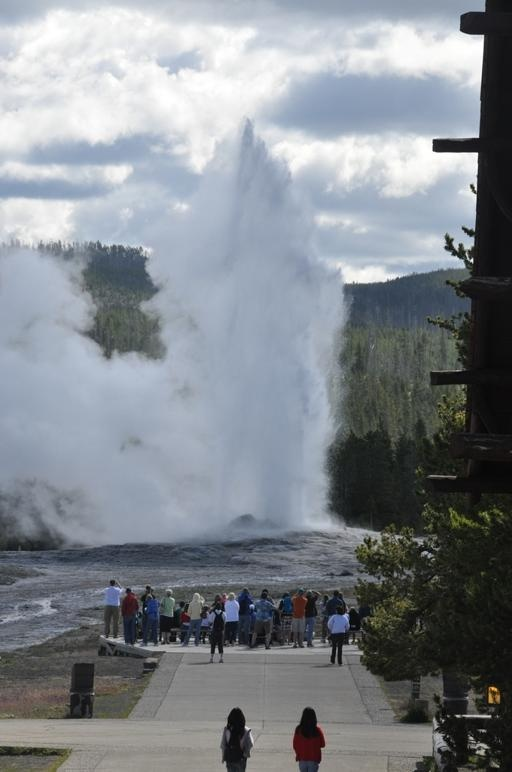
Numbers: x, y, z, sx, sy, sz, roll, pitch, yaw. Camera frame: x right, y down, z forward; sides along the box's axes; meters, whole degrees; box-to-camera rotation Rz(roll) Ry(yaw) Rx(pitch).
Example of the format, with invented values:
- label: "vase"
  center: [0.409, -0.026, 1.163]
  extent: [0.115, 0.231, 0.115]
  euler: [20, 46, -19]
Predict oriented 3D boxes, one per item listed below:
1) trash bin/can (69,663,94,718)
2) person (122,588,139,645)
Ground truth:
- label: "trash bin/can"
  center: [-2.808, 4.930, 22.232]
  extent: [0.376, 0.969, 0.765]
  euler: [1, -1, -9]
- label: "person"
  center: [-2.823, 5.109, 30.629]
  extent: [0.343, 1.336, 1.488]
  euler: [1, -1, -6]
